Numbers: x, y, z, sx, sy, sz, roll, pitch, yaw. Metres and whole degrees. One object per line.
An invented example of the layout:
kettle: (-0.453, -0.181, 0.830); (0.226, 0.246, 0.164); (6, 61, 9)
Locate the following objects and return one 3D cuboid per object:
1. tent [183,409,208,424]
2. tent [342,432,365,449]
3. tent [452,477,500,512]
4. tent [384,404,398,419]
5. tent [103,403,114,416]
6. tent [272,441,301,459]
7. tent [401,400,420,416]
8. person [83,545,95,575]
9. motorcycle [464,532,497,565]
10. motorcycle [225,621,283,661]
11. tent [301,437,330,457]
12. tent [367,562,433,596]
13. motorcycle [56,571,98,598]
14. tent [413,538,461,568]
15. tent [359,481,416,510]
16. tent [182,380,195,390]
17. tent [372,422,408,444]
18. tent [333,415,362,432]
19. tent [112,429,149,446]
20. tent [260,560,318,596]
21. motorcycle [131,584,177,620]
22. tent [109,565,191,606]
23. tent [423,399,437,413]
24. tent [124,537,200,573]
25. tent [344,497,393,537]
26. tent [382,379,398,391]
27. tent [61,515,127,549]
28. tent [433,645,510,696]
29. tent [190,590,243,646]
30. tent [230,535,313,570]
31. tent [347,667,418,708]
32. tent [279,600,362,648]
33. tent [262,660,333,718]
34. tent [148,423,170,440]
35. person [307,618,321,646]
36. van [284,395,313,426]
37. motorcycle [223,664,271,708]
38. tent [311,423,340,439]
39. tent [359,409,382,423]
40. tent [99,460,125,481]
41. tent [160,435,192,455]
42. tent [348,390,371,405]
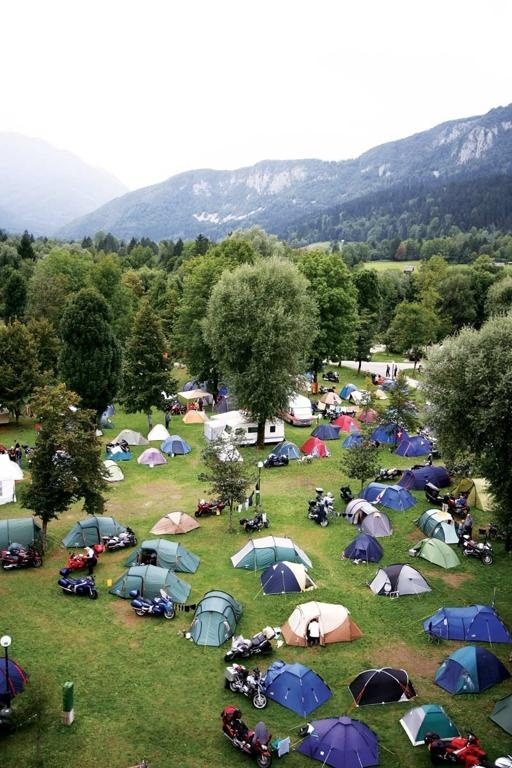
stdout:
tent: (-4.878, 2.677, 50.364); (1.863, 0.955, 1.770); (0, 4, -5)
tent: (6.562, 3.601, 42.311); (1.679, 0.693, 1.534); (-5, 11, -3)
tent: (11.147, 5.670, 32.338); (0.776, 1.603, 2.051); (-3, 6, -37)
tent: (9.392, 2.062, 43.906); (0.873, 0.930, 0.863); (0, 8, 4)
tent: (-11.667, 2.111, 50.552); (0.410, 1.067, 2.396); (0, 4, -4)
tent: (2.011, 4.290, 40.334); (1.053, 0.573, 1.411); (-2, 6, -28)
tent: (10.559, 1.631, 43.161); (0.820, 0.585, 0.827); (3, 1, -35)
person: (-6.572, 7.031, 24.853); (0.460, 1.147, 0.678); (9, -14, -25)
motorcycle: (9.533, 7.199, 27.149); (1.342, 0.892, 0.745); (13, -15, 31)
motorcycle: (-0.064, 8.231, 20.097); (1.777, 1.016, 0.779); (3, 3, -12)
tent: (3.844, 4.240, 41.596); (1.161, 0.649, 1.484); (0, 5, -12)
tent: (5.445, 7.571, 23.940); (1.438, 0.598, 1.276); (-4, 10, -17)
motorcycle: (-6.436, 7.531, 23.375); (1.645, 0.939, 0.674); (2, -8, -2)
tent: (7.592, 7.210, 26.555); (1.092, 0.572, 1.427); (-11, 20, -42)
tent: (6.799, 5.855, 32.711); (1.802, 0.669, 1.444); (15, 16, 39)
tent: (-6.196, 0.190, 58.385); (0.926, 0.898, 1.519); (-3, 5, -36)
tent: (9.377, 3.620, 44.748); (2.295, 1.072, 2.303); (4, 8, 39)
tent: (7.078, 3.064, 47.862); (1.475, 1.158, 2.222); (-3, 5, -34)
tent: (-8.425, 3.693, 42.456); (1.576, 0.552, 1.227); (0, 9, -21)
tent: (1.170, 7.422, 23.792); (1.311, 0.488, 1.302); (-2, 12, -16)
motorcycle: (-3.497, 7.871, 22.421); (1.849, 1.136, 0.714); (-1, -8, 1)
tent: (-3.776, 7.251, 22.857); (1.876, 0.694, 1.525); (4, 1, 4)
tent: (8.772, 1.170, 32.059); (0.723, 0.598, 0.776); (-5, 6, -31)
tent: (-3.571, 6.755, 24.875); (1.928, 0.785, 1.494); (4, 13, 7)
tent: (5.339, 6.416, 29.949); (1.265, 1.135, 2.591); (-1, 5, -17)
tent: (11.094, 0.084, 52.393); (0.771, 1.113, 0.366); (38, 17, 32)
tent: (-6.873, 6.331, 26.913); (1.842, 0.732, 1.289); (-6, 7, -41)
tent: (6.481, 8.459, 18.752); (1.095, 0.753, 1.809); (-5, -6, 43)
tent: (-1.333, 7.763, 20.904); (1.020, 0.644, 1.753); (5, 23, 10)
tent: (0.508, 6.893, 25.497); (2.153, 0.789, 1.522); (-2, 6, -11)
tent: (3.564, 8.731, 18.002); (1.123, 0.484, 1.143); (-1, -2, -2)
tent: (2.065, 7.938, 20.796); (1.827, 0.728, 1.375); (-5, 16, -13)
tent: (1.085, 8.605, 17.774); (1.385, 0.658, 1.148); (16, 19, 40)
tent: (-6.799, 3.365, 44.146); (0.991, 0.535, 1.421); (-2, 10, -9)
person: (1.894, 8.124, 20.455); (0.511, 0.830, 0.334); (-3, 5, -32)
van: (3.548, 2.294, 49.351); (1.471, 1.535, 3.131); (-1, 6, -6)
motorcycle: (-0.220, 8.637, 17.986); (1.300, 0.847, 0.636); (12, -12, 37)
tent: (5.143, 3.527, 45.943); (2.640, 1.050, 1.424); (-2, 5, -23)
tent: (8.624, 2.373, 47.939); (1.522, 1.004, 1.546); (12, 18, 34)
tent: (-7.483, 4.570, 32.741); (1.526, 0.699, 2.081); (1, 16, -8)
tent: (-5.410, 4.201, 41.302); (1.196, 0.638, 1.491); (-14, 25, -42)
tent: (8.645, 1.042, 54.696); (1.459, 0.589, 1.176); (-11, 39, -39)
